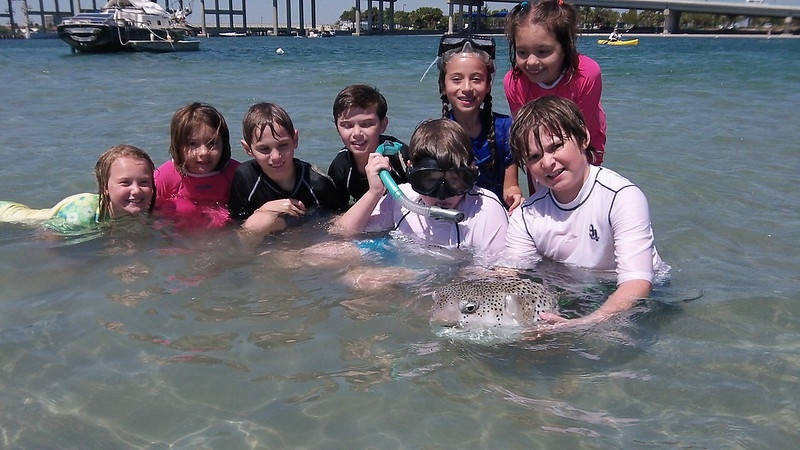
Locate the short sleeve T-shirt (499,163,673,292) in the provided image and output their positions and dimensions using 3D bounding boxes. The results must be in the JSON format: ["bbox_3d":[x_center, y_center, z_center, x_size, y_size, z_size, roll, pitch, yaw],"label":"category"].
[{"bbox_3d":[1.757,0.026,6.364,1.027,0.982,1.586,-21,17,-38],"label":"short sleeve T-shirt"}]

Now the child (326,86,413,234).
[{"bbox_3d":[-0.370,-0.725,7.450,1.230,1.359,1.186,0,12,11],"label":"child"}]

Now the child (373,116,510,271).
[{"bbox_3d":[0.524,-0.266,6.733,1.506,1.403,0.767,4,28,16],"label":"child"}]

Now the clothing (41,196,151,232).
[{"bbox_3d":[-3.372,-0.106,7.176,0.628,0.178,0.399,-3,14,5],"label":"clothing"}]

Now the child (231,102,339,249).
[{"bbox_3d":[-1.240,-0.605,7.188,1.103,1.281,0.747,-8,24,-19],"label":"child"}]

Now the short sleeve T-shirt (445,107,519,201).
[{"bbox_3d":[0.961,-0.747,7.493,0.962,0.848,0.389,-3,5,-5],"label":"short sleeve T-shirt"}]

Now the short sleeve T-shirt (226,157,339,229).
[{"bbox_3d":[-1.183,-0.404,7.582,1.644,0.857,0.680,-2,13,-3],"label":"short sleeve T-shirt"}]

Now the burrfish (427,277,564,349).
[{"bbox_3d":[0.877,0.723,6.014,1.242,0.406,0.827,4,6,-26],"label":"burrfish"}]

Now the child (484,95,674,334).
[{"bbox_3d":[1.579,-0.190,6.061,0.967,1.770,1.398,-18,28,-37],"label":"child"}]
